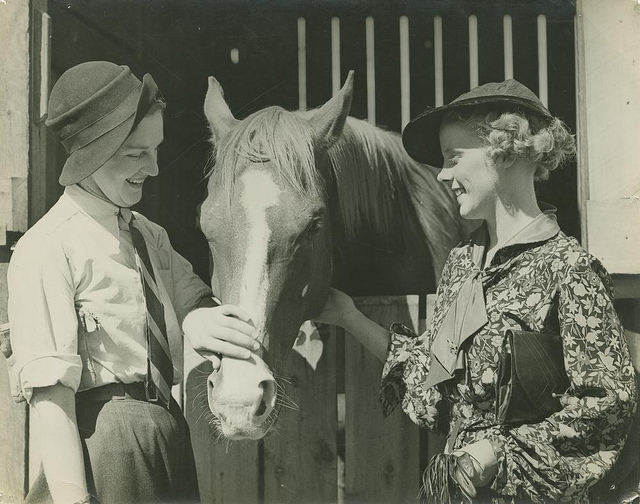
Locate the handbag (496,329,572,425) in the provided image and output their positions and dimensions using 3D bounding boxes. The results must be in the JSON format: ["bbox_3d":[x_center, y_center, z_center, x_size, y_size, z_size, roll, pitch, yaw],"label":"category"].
[{"bbox_3d":[0.699,0.444,6.150,0.201,0.348,0.415,0,-2,6],"label":"handbag"}]

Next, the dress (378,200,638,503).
[{"bbox_3d":[0.690,0.383,6.141,0.735,1.052,1.013,-3,11,-19],"label":"dress"}]

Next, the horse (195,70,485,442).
[{"bbox_3d":[0.100,0.023,7.455,0.883,1.262,2.767,-1,1,16],"label":"horse"}]

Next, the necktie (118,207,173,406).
[{"bbox_3d":[-0.619,0.187,6.470,0.075,0.722,0.144,-14,-13,36],"label":"necktie"}]

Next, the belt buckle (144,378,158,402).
[{"bbox_3d":[-0.601,0.502,6.413,0.055,0.075,0.023,3,-2,-8],"label":"belt buckle"}]

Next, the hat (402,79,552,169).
[{"bbox_3d":[0.558,-0.483,6.395,0.478,0.159,0.329,-14,-21,4],"label":"hat"}]

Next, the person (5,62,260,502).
[{"bbox_3d":[-0.719,0.103,6.440,0.826,1.626,0.367,-5,-10,-2],"label":"person"}]
